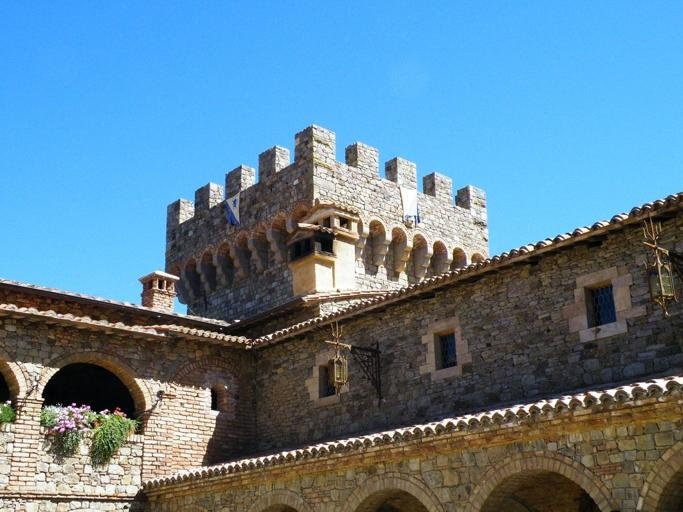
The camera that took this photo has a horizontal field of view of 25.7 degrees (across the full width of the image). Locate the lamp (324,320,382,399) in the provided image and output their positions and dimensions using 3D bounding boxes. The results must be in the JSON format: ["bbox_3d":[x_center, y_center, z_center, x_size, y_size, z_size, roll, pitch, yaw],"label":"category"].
[{"bbox_3d":[0.332,2.593,35.719,1.436,1.863,0.343,8,-20,-18],"label":"lamp"}]

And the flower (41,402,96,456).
[{"bbox_3d":[-6.423,4.058,35.363,0.512,1.371,1.269,-23,-33,36],"label":"flower"}]

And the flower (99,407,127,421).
[{"bbox_3d":[-5.486,3.838,36.186,0.445,0.195,0.332,3,-1,15],"label":"flower"}]
